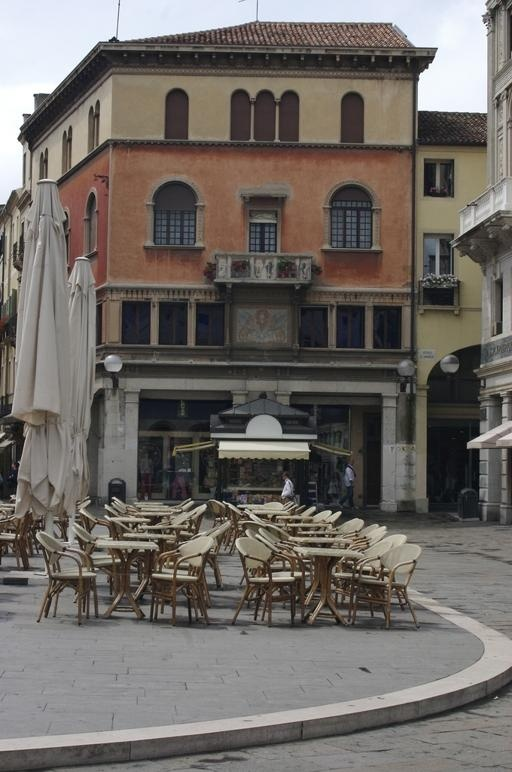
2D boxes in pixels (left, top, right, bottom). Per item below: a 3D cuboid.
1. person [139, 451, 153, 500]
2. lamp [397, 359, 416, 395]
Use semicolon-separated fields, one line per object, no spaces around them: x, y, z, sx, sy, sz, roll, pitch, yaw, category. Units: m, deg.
-2.917;2.354;37.664;0.336;1.231;0.121;2;-6;-8;person
3.958;-0.277;37.795;0.501;0.916;0.687;1;-7;2;lamp
